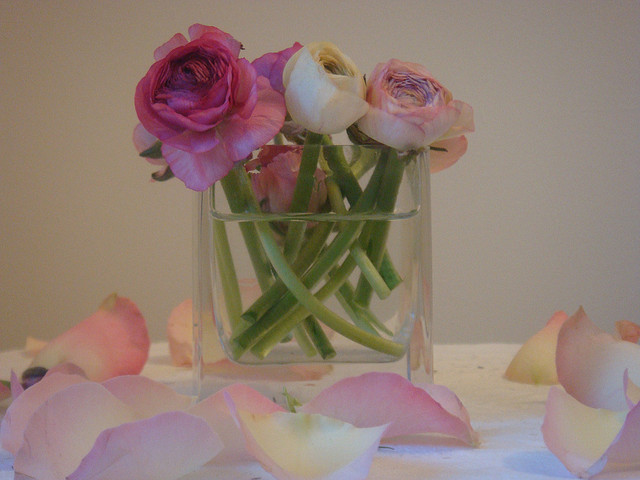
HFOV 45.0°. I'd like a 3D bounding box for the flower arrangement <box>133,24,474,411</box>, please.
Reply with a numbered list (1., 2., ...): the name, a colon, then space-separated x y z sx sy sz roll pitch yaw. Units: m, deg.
1. flower arrangement: -0.005 -0.022 0.735 0.285 0.420 0.262 0 -3 -6
